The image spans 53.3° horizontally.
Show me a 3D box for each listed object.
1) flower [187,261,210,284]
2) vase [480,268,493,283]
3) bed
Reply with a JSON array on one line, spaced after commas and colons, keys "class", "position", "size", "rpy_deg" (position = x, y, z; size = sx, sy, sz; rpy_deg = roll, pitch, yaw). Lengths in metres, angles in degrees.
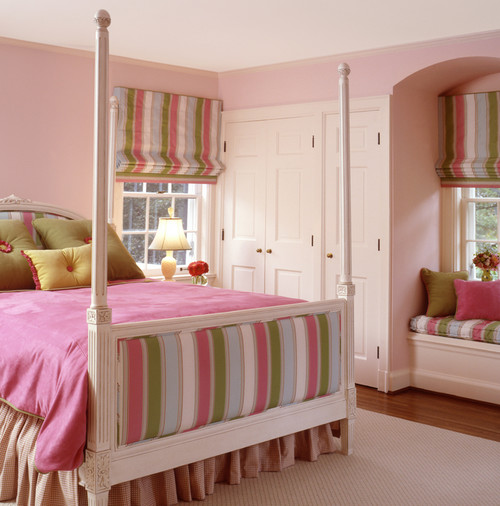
[{"class": "flower", "position": [-0.446, 0.180, 4.492], "size": [0.222, 0.213, 0.212], "rpy_deg": [-1, 1, -39]}, {"class": "vase", "position": [1.937, 0.191, 4.104], "size": [0.119, 0.131, 0.111], "rpy_deg": [1, -1, 17]}, {"class": "bed", "position": [-0.370, -0.008, 3.061], "size": [1.953, 1.831, 2.211], "rpy_deg": [-3, 3, -39]}]
